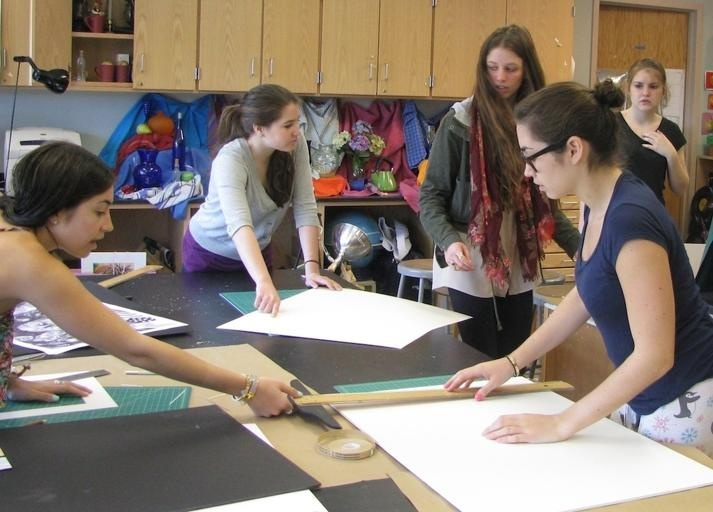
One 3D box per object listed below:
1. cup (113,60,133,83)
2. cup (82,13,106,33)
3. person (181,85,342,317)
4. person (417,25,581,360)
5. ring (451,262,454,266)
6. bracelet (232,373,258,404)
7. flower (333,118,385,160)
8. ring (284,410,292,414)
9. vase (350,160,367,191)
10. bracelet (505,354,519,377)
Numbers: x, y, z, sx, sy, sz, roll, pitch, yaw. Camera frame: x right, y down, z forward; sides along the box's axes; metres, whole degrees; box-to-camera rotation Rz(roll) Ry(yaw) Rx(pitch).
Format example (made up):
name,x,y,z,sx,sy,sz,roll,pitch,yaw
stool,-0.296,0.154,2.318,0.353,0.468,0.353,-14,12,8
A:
name,x,y,z,sx,sy,sz,roll,pitch,yaw
cup,-1.592,-1.261,4.004,0.143,0.130,0.131,0,11,0
cup,-1.745,-1.551,3.912,0.125,0.120,0.057,-2,12,-16
person,-0.391,-0.271,2.296,0.527,0.997,0.505,9,17,2
person,0.560,-0.047,2.274,0.592,1.590,0.567,-2,16,3
ring,0.330,0.026,2.011,0.011,0.009,0.028,11,3,1
bracelet,-0.235,0.282,1.238,0.020,0.048,0.052,20,-18,-24
flower,0.024,-0.876,4.567,0.311,0.277,0.324,19,51,10
ring,-0.149,0.337,1.272,0.013,0.010,0.013,1,2,0
vase,0.023,-0.648,4.645,0.131,0.236,0.118,0,12,-11
bracelet,0.390,0.268,1.453,0.017,0.044,0.039,-20,8,-11
